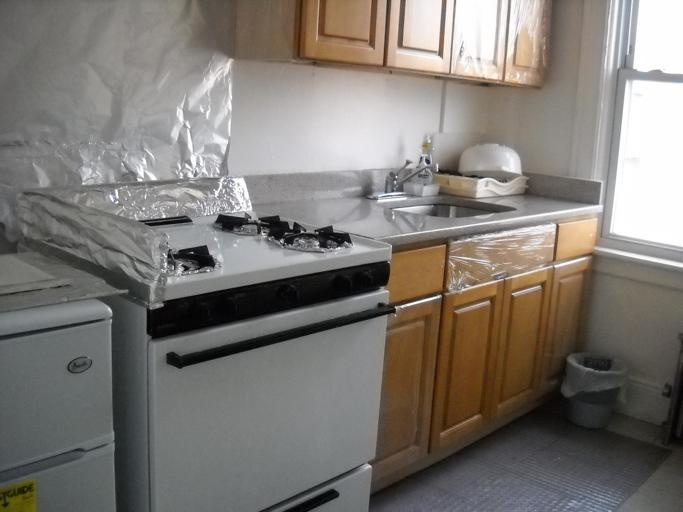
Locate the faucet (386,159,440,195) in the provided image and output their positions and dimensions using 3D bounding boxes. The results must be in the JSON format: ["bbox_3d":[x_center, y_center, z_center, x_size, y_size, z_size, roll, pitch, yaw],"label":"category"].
[{"bbox_3d":[0.402,-0.422,2.702,0.166,0.161,0.292,-10,8,-41],"label":"faucet"}]

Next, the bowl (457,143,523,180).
[{"bbox_3d":[0.980,-0.581,3.059,0.322,0.161,0.312,6,1,0],"label":"bowl"}]
